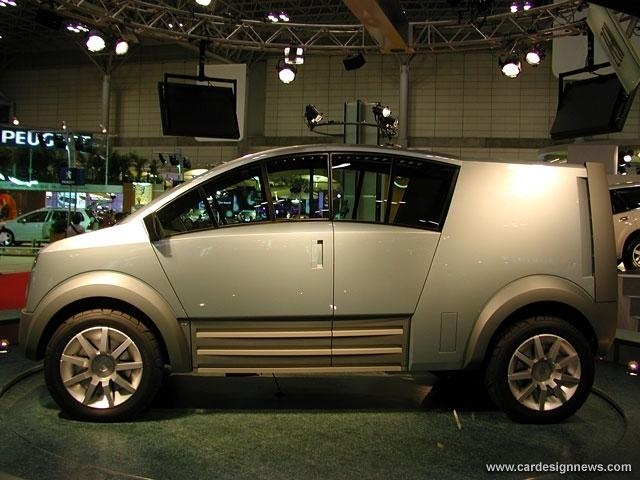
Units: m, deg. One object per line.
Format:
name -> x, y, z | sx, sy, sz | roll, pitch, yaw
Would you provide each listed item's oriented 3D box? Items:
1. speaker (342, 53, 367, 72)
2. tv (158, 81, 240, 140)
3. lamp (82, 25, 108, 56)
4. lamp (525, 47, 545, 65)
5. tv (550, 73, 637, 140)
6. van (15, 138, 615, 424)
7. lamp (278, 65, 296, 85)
speaker -> 0.928, -4.784, 12.912 | 0.485, 0.546, 0.977 | 2, 5, 8
tv -> -2.637, -2.864, 10.629 | 2.020, 1.730, 0.656 | -1, 3, -21
lamp -> -5.026, -4.465, 10.782 | 0.357, 0.672, 0.977 | 0, 6, -20
lamp -> 5.387, -4.605, 12.132 | 0.400, 0.480, 0.637 | 4, 6, 26
tv -> 5.108, -2.537, 9.146 | 0.444, 1.125, 1.650 | 0, 5, -11
van -> -0.011, 0.369, 4.729 | 4.888, 2.407, 2.056 | 0, 3, 1
lamp -> -0.852, -4.338, 12.599 | 0.384, 0.401, 0.496 | 1, 5, -8
